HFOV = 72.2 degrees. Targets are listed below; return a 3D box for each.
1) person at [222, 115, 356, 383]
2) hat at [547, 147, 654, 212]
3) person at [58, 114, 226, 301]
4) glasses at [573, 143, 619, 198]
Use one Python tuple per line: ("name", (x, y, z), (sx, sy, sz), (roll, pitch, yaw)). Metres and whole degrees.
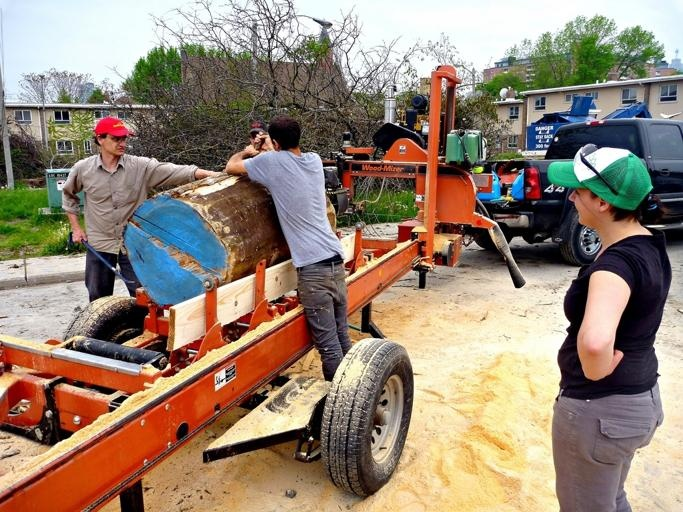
("person", (-0.226, -0.058, 3.332), (0.623, 1.799, 0.413), (7, 17, 32))
("hat", (1.092, -0.329, 2.063), (0.407, 0.205, 0.267), (30, 38, 33))
("person", (-1.935, -0.394, 4.198), (1.128, 1.638, 0.528), (-4, 14, -9))
("glasses", (1.041, -0.341, 2.001), (0.059, 0.193, 0.192), (-40, -7, 27))
